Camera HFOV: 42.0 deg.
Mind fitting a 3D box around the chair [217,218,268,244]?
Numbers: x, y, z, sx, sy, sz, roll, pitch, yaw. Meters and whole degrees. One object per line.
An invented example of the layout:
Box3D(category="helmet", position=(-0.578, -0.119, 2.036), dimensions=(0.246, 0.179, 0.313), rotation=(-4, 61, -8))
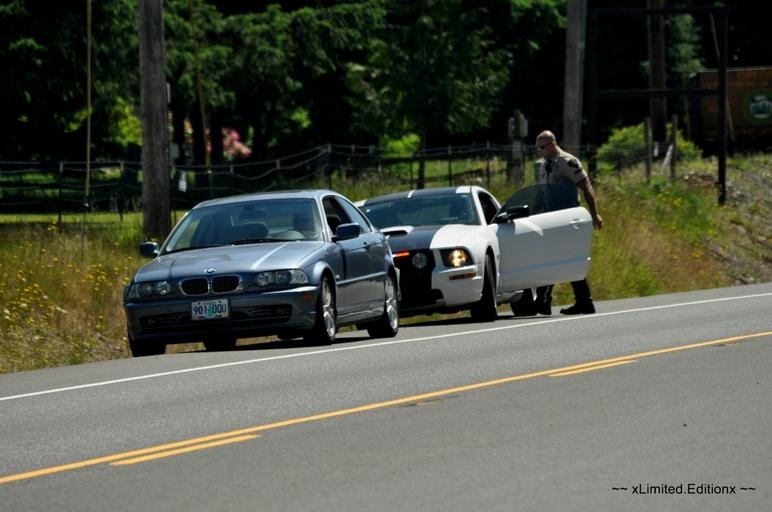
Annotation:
Box3D(category="chair", position=(-1.976, -0.312, 13.839), dimensions=(0.669, 0.253, 0.449), rotation=(-5, 7, 1))

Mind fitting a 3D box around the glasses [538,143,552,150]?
Box3D(category="glasses", position=(2.599, -1.814, 16.556), dimensions=(0.184, 0.096, 0.168), rotation=(-4, 7, 4))
